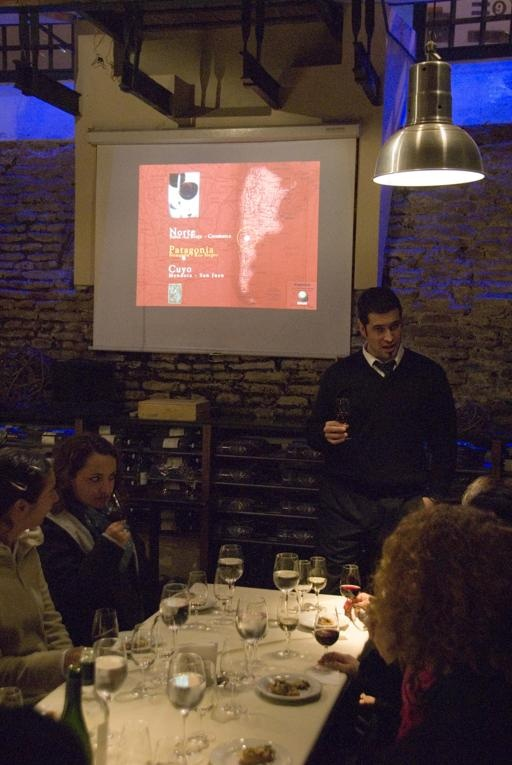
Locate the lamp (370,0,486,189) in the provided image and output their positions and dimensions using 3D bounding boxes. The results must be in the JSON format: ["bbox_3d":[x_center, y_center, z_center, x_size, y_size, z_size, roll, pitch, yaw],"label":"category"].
[{"bbox_3d":[0.606,-0.936,2.439,0.521,0.455,0.528,1,13,9],"label":"lamp"}]

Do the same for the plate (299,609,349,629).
[{"bbox_3d":[0.206,0.763,2.247,0.096,0.023,0.098,2,2,29],"label":"plate"}]

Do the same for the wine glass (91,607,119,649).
[{"bbox_3d":[-0.377,0.608,1.733,0.075,0.101,0.077,1,-5,3],"label":"wine glass"}]

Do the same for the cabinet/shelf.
[{"bbox_3d":[-0.323,0.815,4.751,1.294,1.211,0.492,3,4,-3],"label":"cabinet/shelf"}]

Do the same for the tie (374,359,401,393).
[{"bbox_3d":[0.682,-0.025,3.597,0.116,0.161,0.059,-2,-6,17],"label":"tie"}]

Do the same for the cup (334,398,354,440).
[{"bbox_3d":[0.450,0.174,3.591,0.089,0.194,0.171,7,-1,9],"label":"cup"}]

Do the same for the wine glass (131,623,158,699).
[{"bbox_3d":[-0.288,0.701,1.788,0.072,0.160,0.067,0,2,-31],"label":"wine glass"}]
